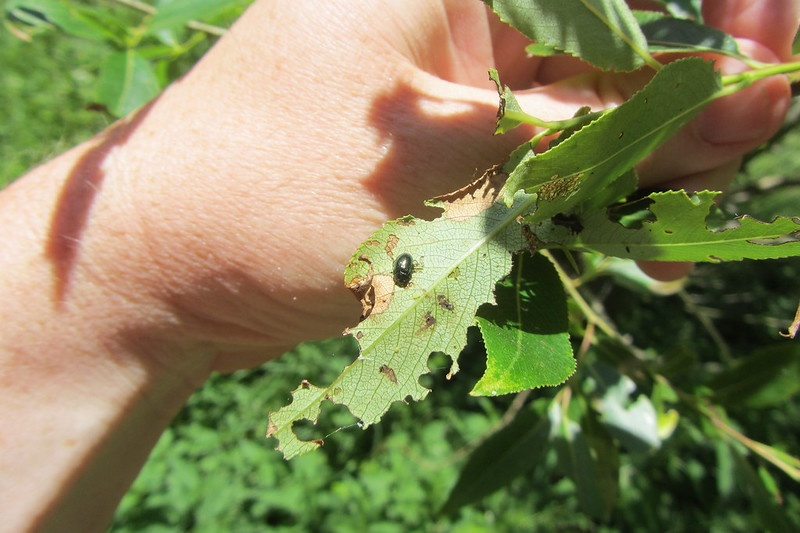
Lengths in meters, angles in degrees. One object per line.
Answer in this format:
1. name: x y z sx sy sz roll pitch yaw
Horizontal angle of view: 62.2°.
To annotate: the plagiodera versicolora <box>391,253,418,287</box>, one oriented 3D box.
1. plagiodera versicolora: 0.013 0.015 2.110 0.077 0.026 0.098 2 88 1
